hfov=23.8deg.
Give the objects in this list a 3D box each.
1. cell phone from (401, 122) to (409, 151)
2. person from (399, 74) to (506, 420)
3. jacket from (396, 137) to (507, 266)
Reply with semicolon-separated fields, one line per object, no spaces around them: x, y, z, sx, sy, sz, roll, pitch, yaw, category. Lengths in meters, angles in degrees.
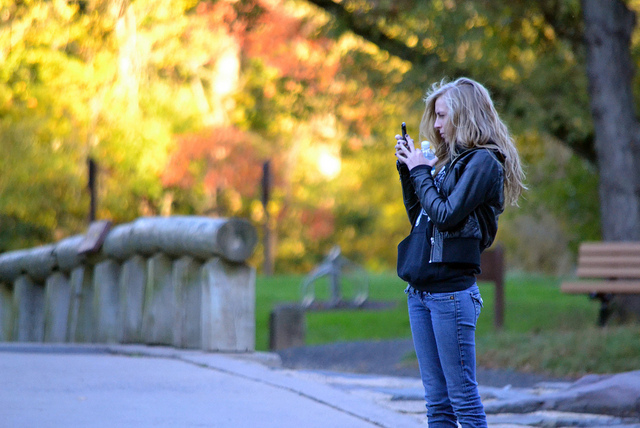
0.812;-0.729;14.399;0.051;0.270;0.034;-7;4;33;cell phone
1.257;0.322;14.301;1.007;3.137;0.494;-1;-8;8;person
1.223;-0.118;14.656;0.925;1.257;0.961;5;-7;-5;jacket
